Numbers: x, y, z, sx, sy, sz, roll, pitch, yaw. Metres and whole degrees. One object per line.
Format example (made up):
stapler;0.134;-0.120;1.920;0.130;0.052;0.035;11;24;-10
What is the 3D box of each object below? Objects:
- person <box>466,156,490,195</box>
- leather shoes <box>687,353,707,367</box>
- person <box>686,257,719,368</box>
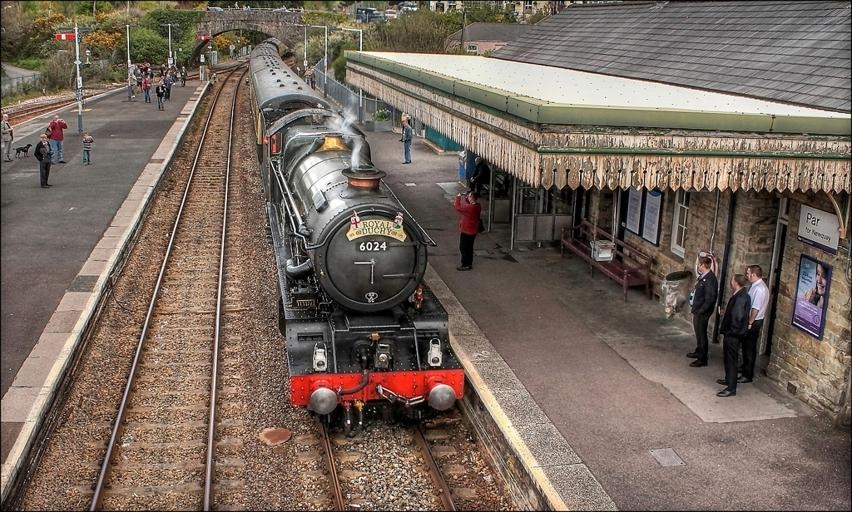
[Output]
person;1.756;-2.591;20.077;0.605;1.332;1.281;-1;19;4
leather shoes;5.643;2.194;12.741;0.308;0.126;0.370;7;18;1
person;5.655;1.157;12.550;0.455;2.304;0.734;7;23;23
